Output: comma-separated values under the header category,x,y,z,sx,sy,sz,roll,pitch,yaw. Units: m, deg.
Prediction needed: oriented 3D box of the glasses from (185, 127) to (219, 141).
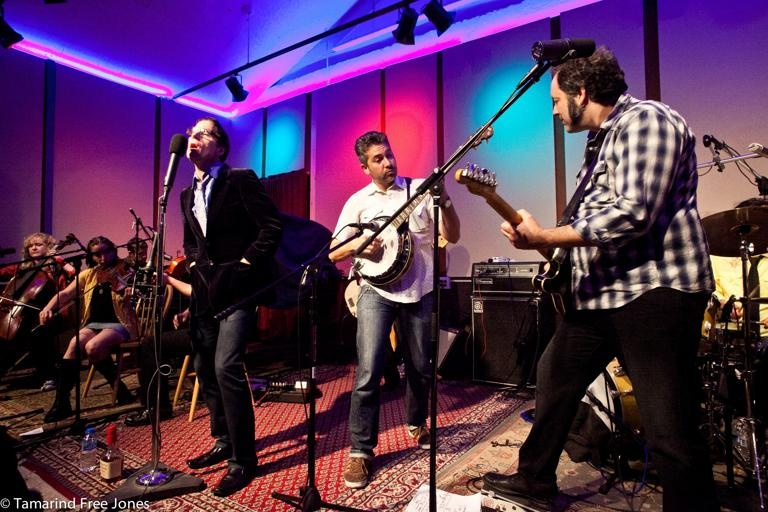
category,x,y,z,sx,sy,sz,roll,pitch,yaw
glasses,-1.641,-1.116,5.158,0.151,0.047,0.144,9,-9,-40

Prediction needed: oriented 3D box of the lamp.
category,x,y,z,sx,sy,sz,roll,pitch,yaw
lamp,-1.097,-3.389,9.232,3.723,0.553,0.663,-14,31,23

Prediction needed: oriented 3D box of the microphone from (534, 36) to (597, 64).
category,x,y,z,sx,sy,sz,roll,pitch,yaw
microphone,1.369,-1.565,4.312,0.413,0.185,0.212,-7,-43,-10

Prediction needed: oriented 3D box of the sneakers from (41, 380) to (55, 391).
category,x,y,z,sx,sy,sz,roll,pitch,yaw
sneakers,-4.217,1.636,7.120,0.137,0.052,0.101,-2,1,30

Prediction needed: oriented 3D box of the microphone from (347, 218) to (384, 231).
category,x,y,z,sx,sy,sz,roll,pitch,yaw
microphone,-0.111,-0.256,4.697,0.179,0.070,0.183,-2,3,-28

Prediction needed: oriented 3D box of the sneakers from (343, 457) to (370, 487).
category,x,y,z,sx,sy,sz,roll,pitch,yaw
sneakers,-0.235,1.893,5.050,0.183,0.206,0.477,-3,4,8

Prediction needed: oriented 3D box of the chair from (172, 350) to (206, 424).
category,x,y,z,sx,sy,sz,roll,pitch,yaw
chair,-2.227,1.475,6.519,0.416,0.434,0.585,-2,-42,-13

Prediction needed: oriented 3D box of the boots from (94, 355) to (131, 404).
category,x,y,z,sx,sy,sz,roll,pitch,yaw
boots,-3.225,1.488,6.715,0.138,0.545,0.162,-24,-2,-11

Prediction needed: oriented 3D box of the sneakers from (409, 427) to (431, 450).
category,x,y,z,sx,sy,sz,roll,pitch,yaw
sneakers,0.347,1.738,5.382,0.145,0.160,0.366,12,-24,-23

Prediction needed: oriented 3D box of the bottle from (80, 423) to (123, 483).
category,x,y,z,sx,sy,sz,roll,pitch,yaw
bottle,-2.634,1.864,5.265,0.429,0.653,0.243,0,1,15
